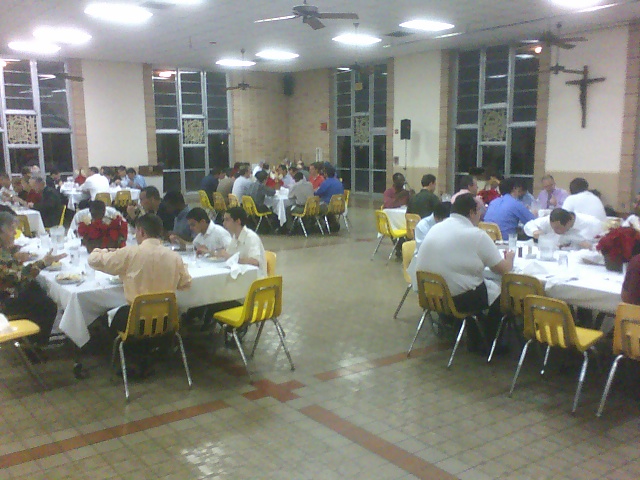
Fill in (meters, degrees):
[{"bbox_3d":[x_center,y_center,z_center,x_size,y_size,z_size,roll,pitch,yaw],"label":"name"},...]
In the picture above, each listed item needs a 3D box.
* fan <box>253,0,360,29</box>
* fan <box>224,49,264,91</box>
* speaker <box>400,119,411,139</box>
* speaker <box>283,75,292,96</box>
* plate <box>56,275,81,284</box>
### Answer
[{"bbox_3d":[-0.243,-3.890,9.199,1.183,0.412,1.164,1,12,5],"label":"fan"},{"bbox_3d":[-2.268,-4.717,15.429,1.405,1.214,1.385,0,0,-4],"label":"fan"},{"bbox_3d":[2.378,-3.078,14.914,0.300,0.556,0.414,2,15,10],"label":"speaker"},{"bbox_3d":[-1.063,-5.295,18.293,0.364,0.695,0.145,6,16,23],"label":"speaker"},{"bbox_3d":[-2.289,0.351,4.881,0.256,0.049,0.128,0,14,-1],"label":"plate"}]
